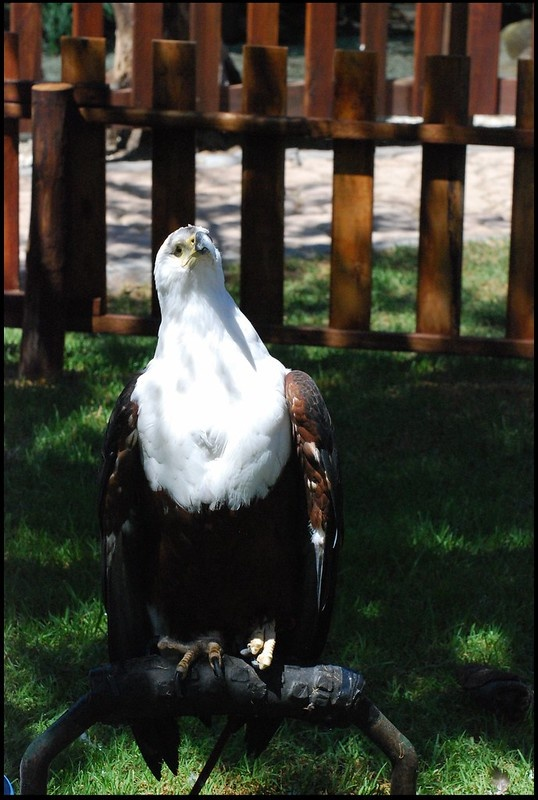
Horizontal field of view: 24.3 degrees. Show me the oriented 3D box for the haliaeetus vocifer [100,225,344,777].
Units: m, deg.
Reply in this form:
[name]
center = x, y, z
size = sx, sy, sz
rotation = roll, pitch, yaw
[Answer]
[haliaeetus vocifer]
center = -0.143, 0.153, 3.341
size = 0.674, 1.236, 0.431
rotation = 1, 6, 4
